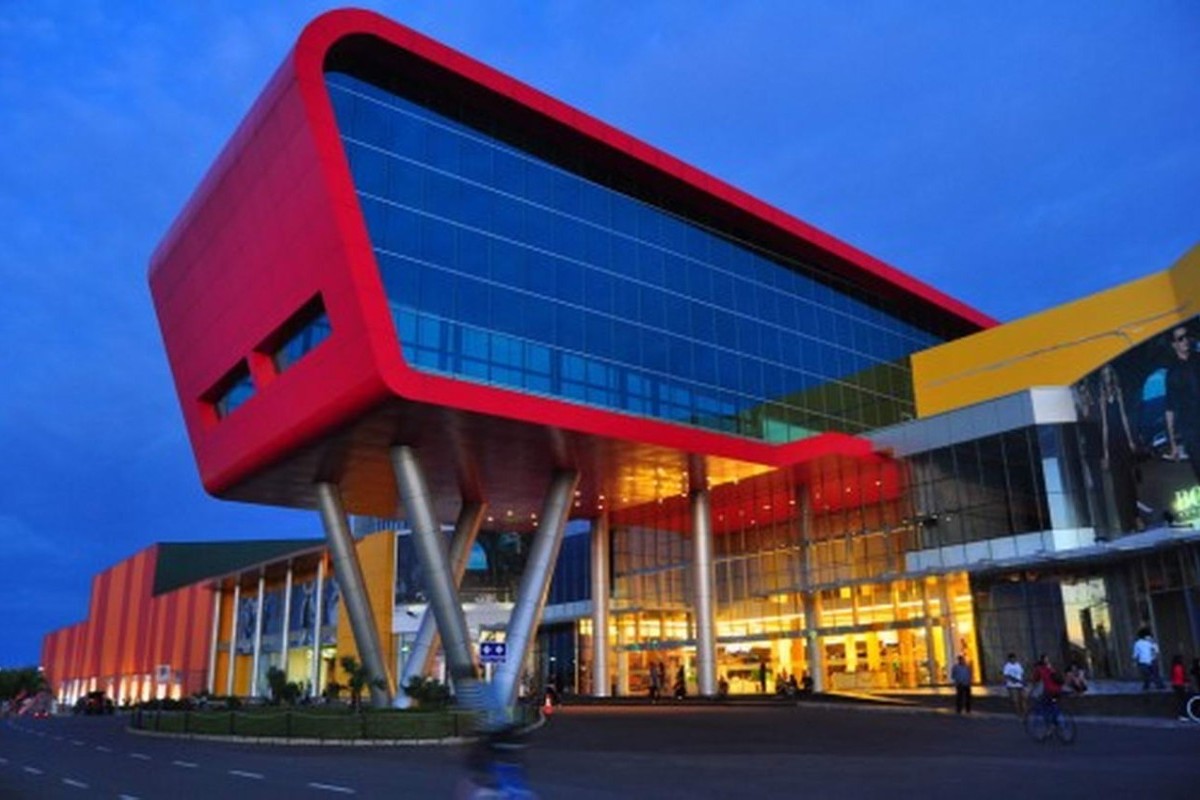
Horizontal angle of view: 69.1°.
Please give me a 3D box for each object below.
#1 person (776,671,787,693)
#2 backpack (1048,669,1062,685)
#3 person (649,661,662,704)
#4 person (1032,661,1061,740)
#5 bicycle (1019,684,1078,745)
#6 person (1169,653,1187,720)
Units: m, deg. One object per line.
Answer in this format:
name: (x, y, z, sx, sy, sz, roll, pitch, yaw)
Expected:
person: (9.300, 14.608, 44.819, 0.576, 1.062, 2.482, -6, -22, 8)
backpack: (13.598, 8.243, 26.016, 0.613, 0.318, 0.846, 3, -8, 25)
person: (2.872, 14.899, 45.923, 0.462, 1.849, 1.213, -1, -22, -3)
person: (13.133, 8.475, 25.820, 0.846, 2.104, 0.505, -2, 15, 24)
bicycle: (13.168, 9.264, 25.572, 1.011, 1.329, 2.223, 1, -18, -14)
person: (18.802, 9.325, 28.277, 0.487, 1.878, 1.369, -15, -25, 28)
